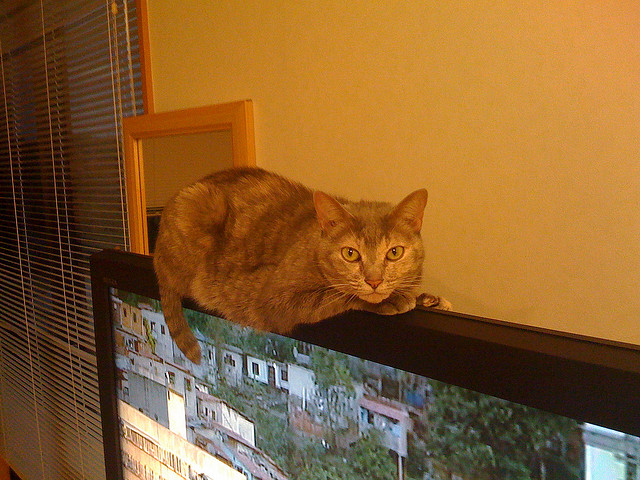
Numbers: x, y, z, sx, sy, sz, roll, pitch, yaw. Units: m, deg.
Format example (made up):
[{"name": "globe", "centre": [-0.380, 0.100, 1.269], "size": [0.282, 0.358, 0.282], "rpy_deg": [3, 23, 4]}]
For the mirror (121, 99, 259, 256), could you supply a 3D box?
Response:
[{"name": "mirror", "centre": [-0.388, -0.158, 1.449], "size": [0.409, 0.414, 0.030], "rpy_deg": [0, 7, 21]}]
